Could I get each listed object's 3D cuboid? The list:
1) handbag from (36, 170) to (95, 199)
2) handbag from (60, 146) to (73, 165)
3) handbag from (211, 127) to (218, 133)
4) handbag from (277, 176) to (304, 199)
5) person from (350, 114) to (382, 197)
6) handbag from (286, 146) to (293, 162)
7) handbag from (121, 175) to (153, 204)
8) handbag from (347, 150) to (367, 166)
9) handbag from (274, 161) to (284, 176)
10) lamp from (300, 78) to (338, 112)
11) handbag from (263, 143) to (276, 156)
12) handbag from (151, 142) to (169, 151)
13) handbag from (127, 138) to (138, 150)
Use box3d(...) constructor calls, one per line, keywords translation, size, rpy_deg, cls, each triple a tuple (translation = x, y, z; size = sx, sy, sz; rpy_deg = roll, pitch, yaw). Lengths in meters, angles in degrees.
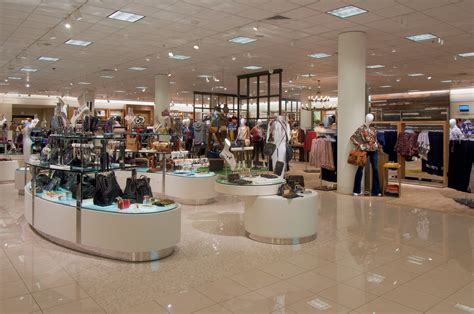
box3d(translation=(-3.415, 0.543, 6.000), size=(1.071, 0.587, 0.242), rpy_deg=(-1, -7, 25), cls="handbag")
box3d(translation=(-3.365, -0.023, 5.854), size=(0.165, 0.387, 0.334), rpy_deg=(6, -2, 2), cls="handbag")
box3d(translation=(-0.843, -0.924, 10.425), size=(0.345, 0.209, 0.179), rpy_deg=(0, 0, -18), cls="handbag")
box3d(translation=(1.078, 0.590, 5.837), size=(0.414, 0.173, 0.520), rpy_deg=(1, 4, 15), cls="handbag")
box3d(translation=(4.116, -0.041, 9.420), size=(1.012, 2.621, 0.562), rpy_deg=(-4, 9, -31), cls="person")
box3d(translation=(1.569, -0.090, 9.082), size=(0.205, 0.572, 0.767), rpy_deg=(1, 7, 9), cls="handbag")
box3d(translation=(-1.827, 0.599, 5.380), size=(0.479, 0.426, 0.434), rpy_deg=(-3, 7, -19), cls="handbag")
box3d(translation=(3.717, 0.037, 9.196), size=(0.264, 0.440, 0.520), rpy_deg=(9, -2, -43), cls="handbag")
box3d(translation=(0.874, 0.251, 6.337), size=(0.303, 0.251, 0.071), rpy_deg=(8, -6, 44), cls="handbag")
box3d(translation=(5.234, -3.952, 19.158), size=(2.530, 1.784, 2.465), rpy_deg=(-10, 15, -36), cls="lamp")
box3d(translation=(0.781, -0.158, 6.853), size=(0.327, 0.289, 0.106), rpy_deg=(17, 1, 39), cls="handbag")
box3d(translation=(-2.368, -0.316, 9.094), size=(0.329, 0.164, 0.422), rpy_deg=(2, -2, -36), cls="handbag")
box3d(translation=(-3.570, -0.433, 10.095), size=(0.481, 0.399, 0.199), rpy_deg=(-2, -6, 34), cls="handbag")
